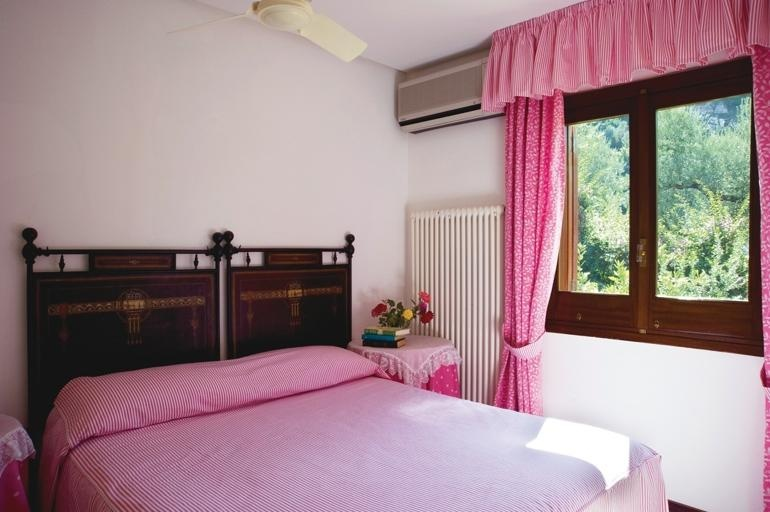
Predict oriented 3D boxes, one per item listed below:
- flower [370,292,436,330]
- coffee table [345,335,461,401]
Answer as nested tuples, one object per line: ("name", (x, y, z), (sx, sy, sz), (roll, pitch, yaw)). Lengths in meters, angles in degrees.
("flower", (0.150, 0.380, 4.307), (0.467, 0.328, 0.397), (7, 3, 43))
("coffee table", (0.143, 0.854, 4.179), (0.663, 0.453, 0.650), (5, 5, -24))
